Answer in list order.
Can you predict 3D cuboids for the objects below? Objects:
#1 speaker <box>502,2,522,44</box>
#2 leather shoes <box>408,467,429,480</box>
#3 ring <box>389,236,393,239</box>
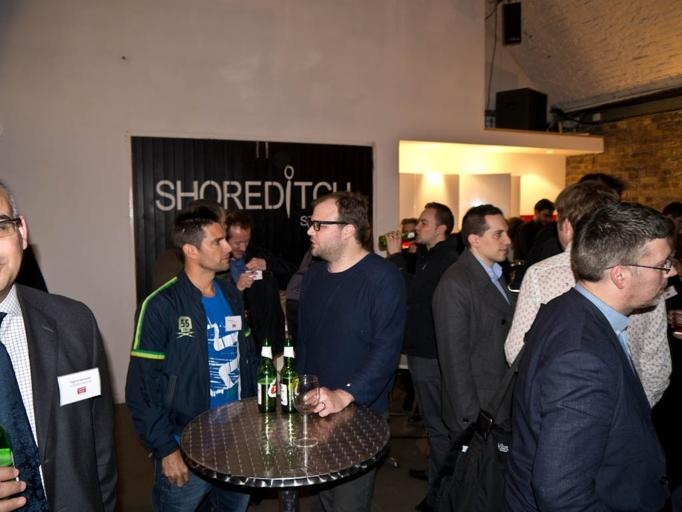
[{"bbox_3d":[2.614,-3.553,8.473,0.286,0.588,0.481,-1,5,16],"label":"speaker"},{"bbox_3d":[0.591,1.662,4.249,0.140,0.108,0.051,7,3,24],"label":"leather shoes"},{"bbox_3d":[0.415,-0.150,4.620,0.021,0.022,0.005,-2,-17,-1],"label":"ring"}]
